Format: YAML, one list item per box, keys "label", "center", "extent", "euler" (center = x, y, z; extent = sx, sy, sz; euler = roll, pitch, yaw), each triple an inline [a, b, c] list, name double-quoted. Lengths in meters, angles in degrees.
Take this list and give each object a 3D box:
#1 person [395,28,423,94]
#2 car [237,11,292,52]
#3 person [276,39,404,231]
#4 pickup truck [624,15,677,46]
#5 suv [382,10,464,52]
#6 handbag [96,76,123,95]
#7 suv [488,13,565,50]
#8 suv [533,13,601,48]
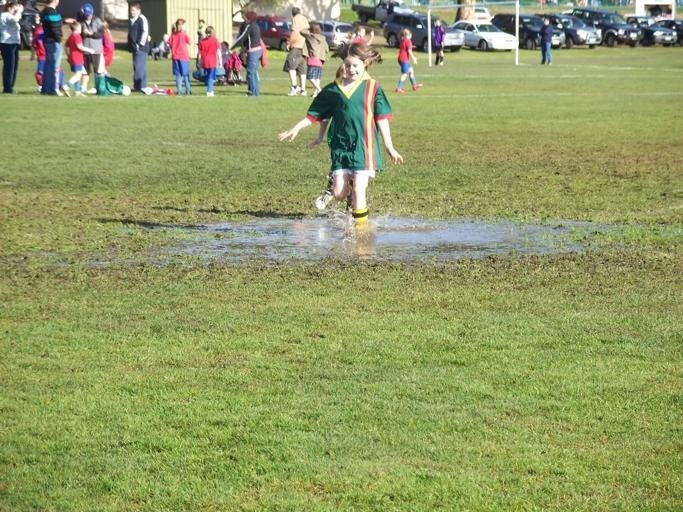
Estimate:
- label: "person"
  center: [1.545, -4.501, 30.927]
  extent: [0.452, 1.444, 0.614]
  euler: [8, 12, 42]
- label: "car"
  center: [-2.668, -8.860, 53.795]
  extent: [2.931, 1.265, 1.456]
  euler: [13, 16, 33]
- label: "person"
  center: [0.147, -1.369, 15.179]
  extent: [0.908, 2.008, 0.660]
  euler: [7, 9, 41]
- label: "pickup truck"
  center: [13.035, -9.653, 57.728]
  extent: [1.091, 0.985, 2.308]
  euler: [-5, 11, -21]
- label: "suv"
  center: [3.205, -9.008, 54.269]
  extent: [1.499, 1.449, 3.454]
  euler: [-11, 20, -42]
- label: "handbag"
  center: [-5.086, -3.787, 29.819]
  extent: [0.503, 0.365, 0.404]
  euler: [5, 11, -4]
- label: "suv"
  center: [7.359, -9.390, 55.749]
  extent: [1.444, 1.435, 3.366]
  euler: [-7, 15, -31]
- label: "suv"
  center: [9.196, -9.007, 55.311]
  extent: [1.597, 1.266, 2.761]
  euler: [-10, 16, -35]
